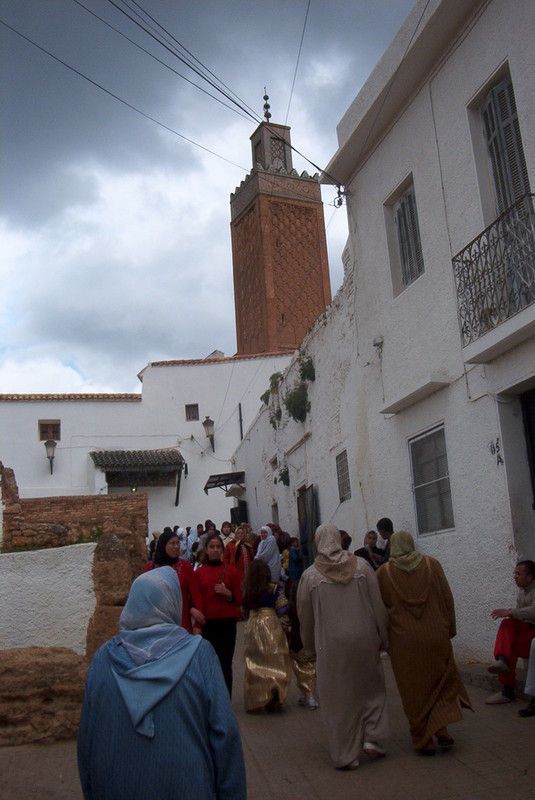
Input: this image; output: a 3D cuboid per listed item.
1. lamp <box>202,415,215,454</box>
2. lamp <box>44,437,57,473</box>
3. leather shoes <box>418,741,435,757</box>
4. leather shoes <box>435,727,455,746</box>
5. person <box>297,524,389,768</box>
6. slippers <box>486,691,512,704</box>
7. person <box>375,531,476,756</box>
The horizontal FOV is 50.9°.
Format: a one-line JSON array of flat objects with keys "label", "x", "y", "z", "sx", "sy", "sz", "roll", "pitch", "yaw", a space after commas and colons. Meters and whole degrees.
[{"label": "lamp", "x": -2.960, "y": 1.696, "z": 28.035, "sx": 0.599, "sy": 1.754, "sz": 0.975, "roll": 4, "pitch": -10, "yaw": 9}, {"label": "lamp", "x": -10.239, "y": 2.612, "z": 26.392, "sx": 0.561, "sy": 1.762, "sz": 1.048, "roll": 9, "pitch": -10, "yaw": -17}, {"label": "leather shoes", "x": 1.095, "y": 2.417, "z": 3.893, "sx": 0.120, "sy": 0.113, "sz": 0.138, "roll": 3, "pitch": -10, "yaw": 18}, {"label": "leather shoes", "x": 1.260, "y": 2.406, "z": 3.998, "sx": 0.137, "sy": 0.129, "sz": 0.124, "roll": 4, "pitch": -10, "yaw": 12}, {"label": "person", "x": 0.555, "y": 1.756, "z": 4.133, "sx": 0.691, "sy": 1.579, "sz": 0.492, "roll": 5, "pitch": -9, "yaw": 5}, {"label": "slippers", "x": 2.051, "y": 2.660, "z": 5.039, "sx": 0.239, "sy": 0.117, "sz": 0.095, "roll": 3, "pitch": -13, "yaw": -2}, {"label": "person", "x": 1.116, "y": 1.750, "z": 4.091, "sx": 0.694, "sy": 1.493, "sz": 0.332, "roll": 3, "pitch": -9, "yaw": 15}]
